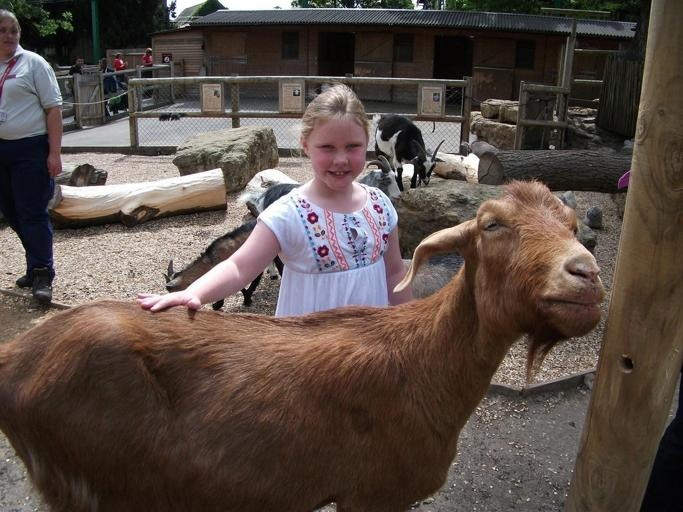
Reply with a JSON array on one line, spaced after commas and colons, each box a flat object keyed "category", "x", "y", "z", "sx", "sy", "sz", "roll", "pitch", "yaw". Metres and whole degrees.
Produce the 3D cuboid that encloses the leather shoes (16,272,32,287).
[{"category": "leather shoes", "x": -3.389, "y": 0.255, "z": 5.583, "sx": 0.140, "sy": 0.149, "sz": 0.079, "roll": 11, "pitch": 21, "yaw": -6}]
